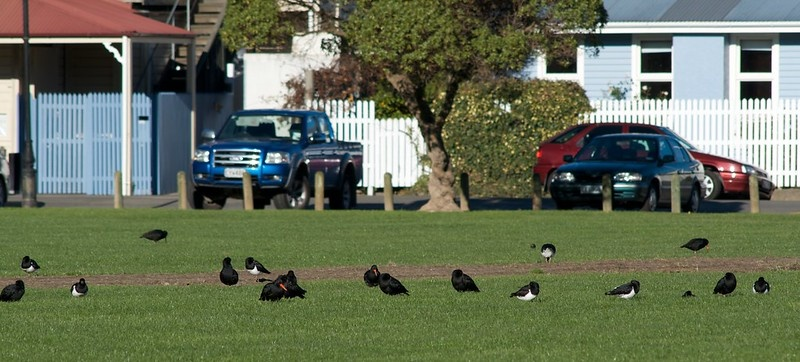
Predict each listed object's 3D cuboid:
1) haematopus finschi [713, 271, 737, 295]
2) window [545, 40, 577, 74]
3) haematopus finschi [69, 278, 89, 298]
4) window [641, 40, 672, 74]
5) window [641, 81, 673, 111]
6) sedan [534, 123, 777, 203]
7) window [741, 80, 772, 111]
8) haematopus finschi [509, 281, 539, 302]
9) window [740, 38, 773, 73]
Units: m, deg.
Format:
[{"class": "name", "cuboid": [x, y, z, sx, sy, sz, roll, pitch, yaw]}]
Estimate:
[{"class": "haematopus finschi", "cuboid": [11.460, 3.718, 70.201, 0.738, 0.899, 0.976, -7, 6, -33]}, {"class": "window", "cuboid": [7.515, -5.548, 90.247, 1.739, 1.618, 1.158, -2, -3, 14]}, {"class": "haematopus finschi", "cuboid": [-11.281, 3.810, 69.857, 0.627, 0.647, 0.730, 0, 0, -9]}, {"class": "window", "cuboid": [12.003, -5.979, 93.180, 1.724, 1.681, 0.119, 0, 1, 1]}, {"class": "window", "cuboid": [11.740, -3.936, 90.988, 1.706, 1.132, 0.065, 1, -5, -4]}, {"class": "sedan", "cuboid": [10.897, -0.546, 84.897, 9.991, 3.168, 3.995, 0, 3, 7]}, {"class": "window", "cuboid": [16.408, -3.977, 91.186, 1.781, 1.668, 0.128, 1, -1, 4]}, {"class": "haematopus finschi", "cuboid": [4.362, 3.933, 69.621, 1.002, 0.663, 0.649, 0, 0, -1]}, {"class": "window", "cuboid": [16.711, -6.010, 92.956, 1.761, 1.857, 0.141, 0, 2, 2]}]
